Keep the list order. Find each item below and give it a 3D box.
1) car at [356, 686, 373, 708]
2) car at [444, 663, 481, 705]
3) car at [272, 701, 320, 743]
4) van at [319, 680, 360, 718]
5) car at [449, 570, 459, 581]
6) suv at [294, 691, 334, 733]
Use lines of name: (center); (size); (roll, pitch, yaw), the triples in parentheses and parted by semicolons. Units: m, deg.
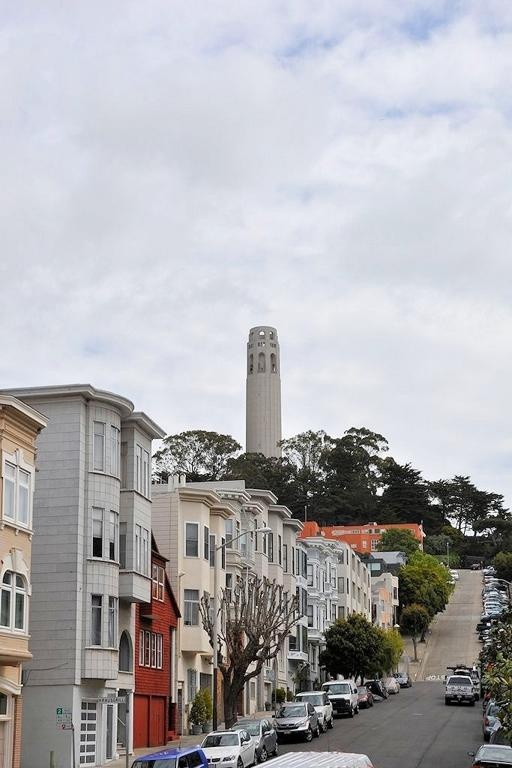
car: (5.086, 14.599, 65.915); (0.722, 0.672, 1.783); (0, -3, 9)
car: (9.950, 14.323, 67.656); (1.679, 1.841, 4.173); (-1, -16, 7)
car: (1.350, 11.497, 48.139); (1.383, 1.262, 2.179); (-2, -10, 5)
van: (3.686, 13.208, 59.324); (1.035, 0.905, 1.869); (-3, -25, 9)
car: (24.121, 23.067, 170.871); (1.152, 0.984, 2.828); (2, 6, 6)
suv: (2.210, 11.860, 52.047); (1.074, 0.920, 1.962); (-7, -46, 5)
